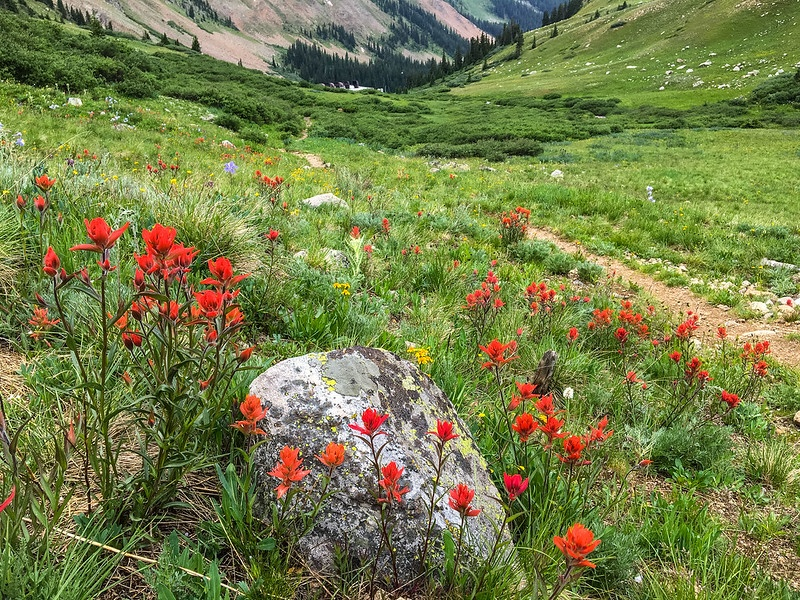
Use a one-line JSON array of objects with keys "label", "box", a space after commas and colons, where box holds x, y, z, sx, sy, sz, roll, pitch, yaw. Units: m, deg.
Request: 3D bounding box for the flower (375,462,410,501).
[{"label": "flower", "box": [-0.059, 1.371, 4.557, 0.252, 0.371, 0.326, 6, -19, -8]}]

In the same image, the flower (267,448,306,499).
[{"label": "flower", "box": [-0.801, 1.271, 4.554, 0.211, 0.335, 0.253, -9, 4, -40]}]
